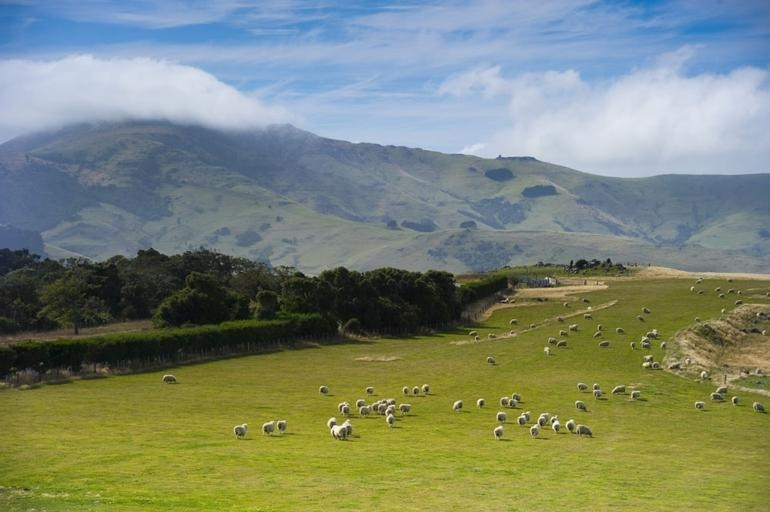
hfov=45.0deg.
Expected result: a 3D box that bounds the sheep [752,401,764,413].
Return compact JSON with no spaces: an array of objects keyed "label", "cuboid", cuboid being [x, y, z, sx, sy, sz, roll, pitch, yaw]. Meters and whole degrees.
[{"label":"sheep","cuboid":[43.748,17.495,108.582,1.350,0.994,2.562,0,5,19]}]

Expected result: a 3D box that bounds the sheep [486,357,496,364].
[{"label":"sheep","cuboid":[14.704,14.651,129.151,0.917,0.759,1.020,13,-27,-29]}]

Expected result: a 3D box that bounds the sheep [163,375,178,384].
[{"label":"sheep","cuboid":[-27.056,15.211,115.972,1.726,0.831,2.129,-3,5,-15]}]
